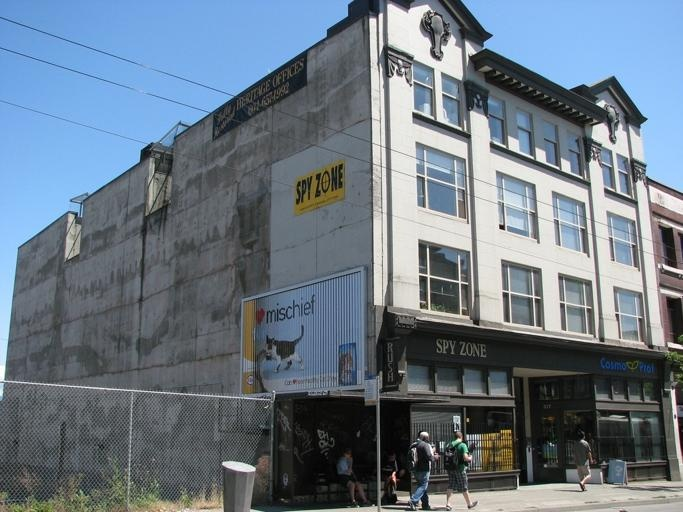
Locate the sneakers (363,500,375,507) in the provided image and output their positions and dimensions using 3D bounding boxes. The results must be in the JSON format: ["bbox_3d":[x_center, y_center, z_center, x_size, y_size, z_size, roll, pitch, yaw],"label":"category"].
[{"bbox_3d":[0.905,8.221,20.743,0.472,0.221,0.174,-8,-19,24],"label":"sneakers"}]

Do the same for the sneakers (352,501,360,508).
[{"bbox_3d":[0.476,8.183,20.520,0.263,0.186,0.099,4,-9,-28],"label":"sneakers"}]
